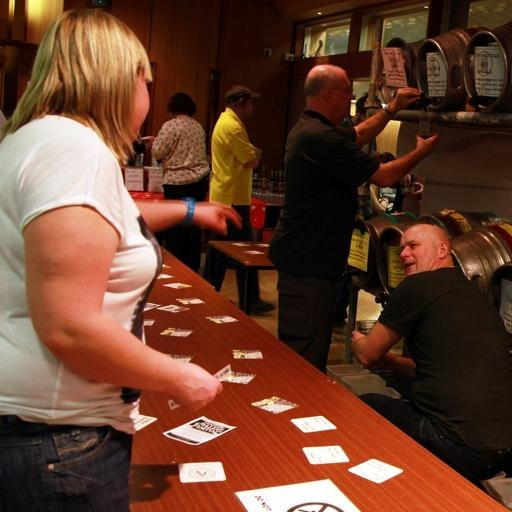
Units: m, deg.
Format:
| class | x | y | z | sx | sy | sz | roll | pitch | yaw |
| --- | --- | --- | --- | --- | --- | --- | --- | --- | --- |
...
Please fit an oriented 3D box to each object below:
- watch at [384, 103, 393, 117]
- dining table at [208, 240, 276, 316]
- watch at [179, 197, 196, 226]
| class | x | y | z | sx | sy | sz | roll | pitch | yaw |
| --- | --- | --- | --- | --- | --- | --- | --- | --- | --- |
| watch | 0.735 | -0.825 | 2.678 | 0.023 | 0.060 | 0.064 | -8 | 31 | -41 |
| dining table | -0.093 | 0.064 | 4.018 | 0.579 | 0.468 | 1.012 | -1 | 16 | -12 |
| watch | -0.196 | -0.137 | 1.413 | 0.029 | 0.067 | 0.062 | 3 | -1 | -27 |
